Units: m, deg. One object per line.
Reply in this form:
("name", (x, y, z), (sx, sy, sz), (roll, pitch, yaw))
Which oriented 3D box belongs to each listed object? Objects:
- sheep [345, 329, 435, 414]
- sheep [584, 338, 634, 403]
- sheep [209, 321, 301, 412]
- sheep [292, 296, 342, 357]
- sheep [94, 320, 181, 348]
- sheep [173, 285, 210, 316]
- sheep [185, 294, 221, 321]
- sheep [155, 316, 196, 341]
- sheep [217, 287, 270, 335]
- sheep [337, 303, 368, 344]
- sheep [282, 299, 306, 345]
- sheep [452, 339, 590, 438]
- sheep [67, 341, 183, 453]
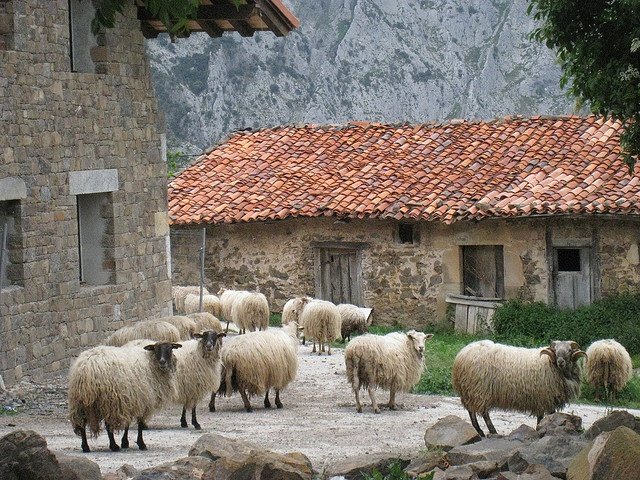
("sheep", (1.210, 2.423, 20.043), (1.716, 1.463, 0.838), (2, -3, -38))
("sheep", (5.412, 2.435, 21.010), (0.750, 1.196, 1.505), (2, 0, 13))
("sheep", (-0.993, 2.353, 20.187), (1.077, 1.563, 2.230), (4, 2, 35))
("sheep", (-0.144, 1.861, 24.015), (0.660, 1.076, 1.437), (6, 2, -26))
("sheep", (-3.264, 1.730, 20.053), (1.156, 0.702, 0.563), (-4, 4, -6))
("sheep", (-3.151, 1.470, 26.711), (1.053, 0.739, 0.569), (5, 3, 13))
("sheep", (-2.805, 1.540, 25.486), (0.846, 0.664, 0.434), (10, 8, 28))
("sheep", (-2.774, 1.687, 21.196), (0.817, 0.611, 0.400), (6, 8, 7))
("sheep", (-1.852, 1.676, 25.122), (0.667, 1.100, 1.935), (0, 5, -28))
("sheep", (0.639, 1.765, 24.812), (0.512, 0.907, 1.205), (-1, 14, -18))
("sheep", (-0.524, 1.844, 24.959), (0.474, 0.842, 1.045), (6, -16, 8))
("sheep", (3.414, 2.501, 18.571), (2.045, 1.738, 1.124), (-1, 14, 13))
("sheep", (-3.154, 2.606, 18.018), (1.050, 1.722, 2.043), (-8, -8, 40))
